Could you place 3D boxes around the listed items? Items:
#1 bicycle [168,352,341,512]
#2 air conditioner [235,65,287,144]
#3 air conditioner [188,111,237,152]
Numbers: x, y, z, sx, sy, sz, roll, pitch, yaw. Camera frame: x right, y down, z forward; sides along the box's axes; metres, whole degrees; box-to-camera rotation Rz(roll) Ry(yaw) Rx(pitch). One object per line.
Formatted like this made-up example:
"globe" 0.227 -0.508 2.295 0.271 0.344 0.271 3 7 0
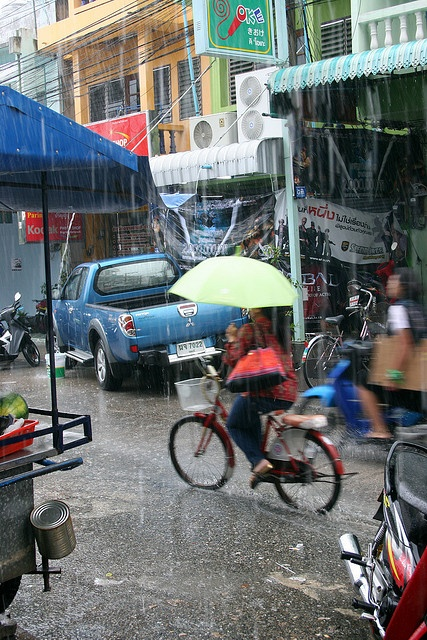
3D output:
"bicycle" 0.445 0.987 4.565 1.705 1.178 0.780 6 13 42
"air conditioner" 1.005 -5.542 13.167 0.401 1.943 1.522 -2 0 -40
"air conditioner" -0.021 -5.537 15.103 0.587 1.136 1.672 -3 0 -43
